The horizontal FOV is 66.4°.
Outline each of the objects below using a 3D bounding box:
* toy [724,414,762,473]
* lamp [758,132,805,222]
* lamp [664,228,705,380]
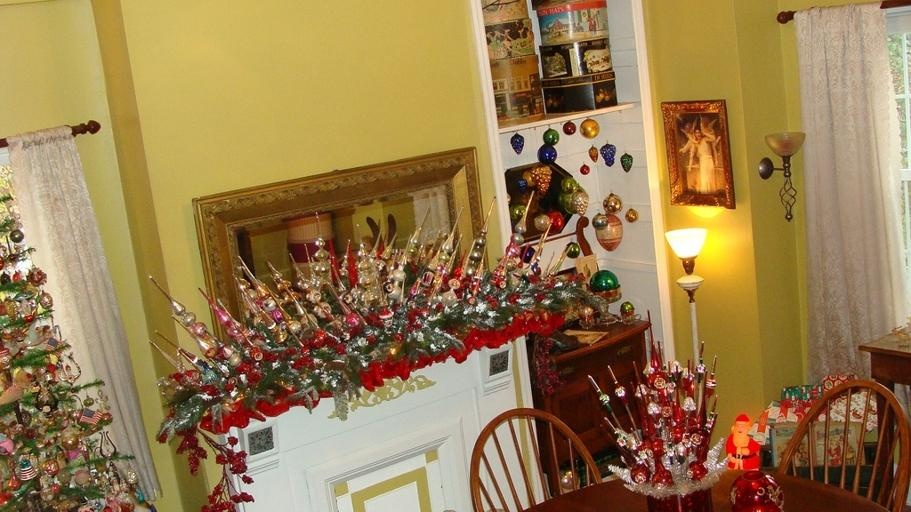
[{"bbox_3d":[2.203,1.446,5.281,0.246,0.450,0.594,-7,7,21],"label":"toy"},{"bbox_3d":[2.651,-0.614,5.477,0.467,0.735,0.321,-15,9,-39],"label":"lamp"},{"bbox_3d":[1.971,0.468,5.721,0.286,1.211,0.271,-8,18,10],"label":"lamp"}]
